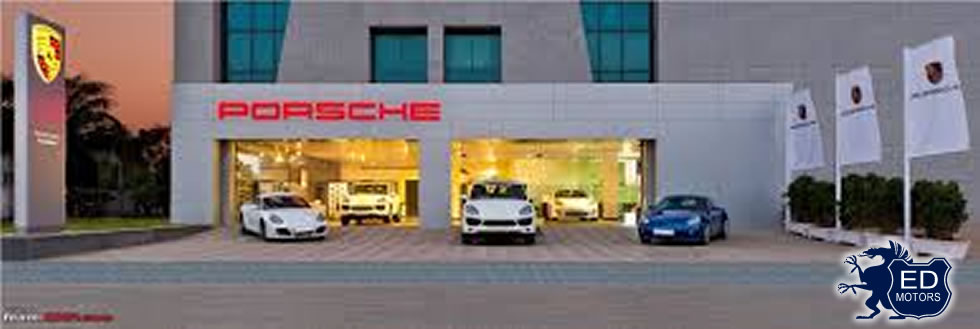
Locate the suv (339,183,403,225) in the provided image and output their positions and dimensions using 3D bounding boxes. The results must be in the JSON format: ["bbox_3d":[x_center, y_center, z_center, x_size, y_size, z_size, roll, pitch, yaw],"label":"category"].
[{"bbox_3d":[-10.139,3.291,57.015,3.865,1.827,5.043,-1,-8,1],"label":"suv"}]

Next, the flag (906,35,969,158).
[{"bbox_3d":[32.358,-4.801,49.018,0.307,8.603,4.399,8,-11,-20],"label":"flag"}]
